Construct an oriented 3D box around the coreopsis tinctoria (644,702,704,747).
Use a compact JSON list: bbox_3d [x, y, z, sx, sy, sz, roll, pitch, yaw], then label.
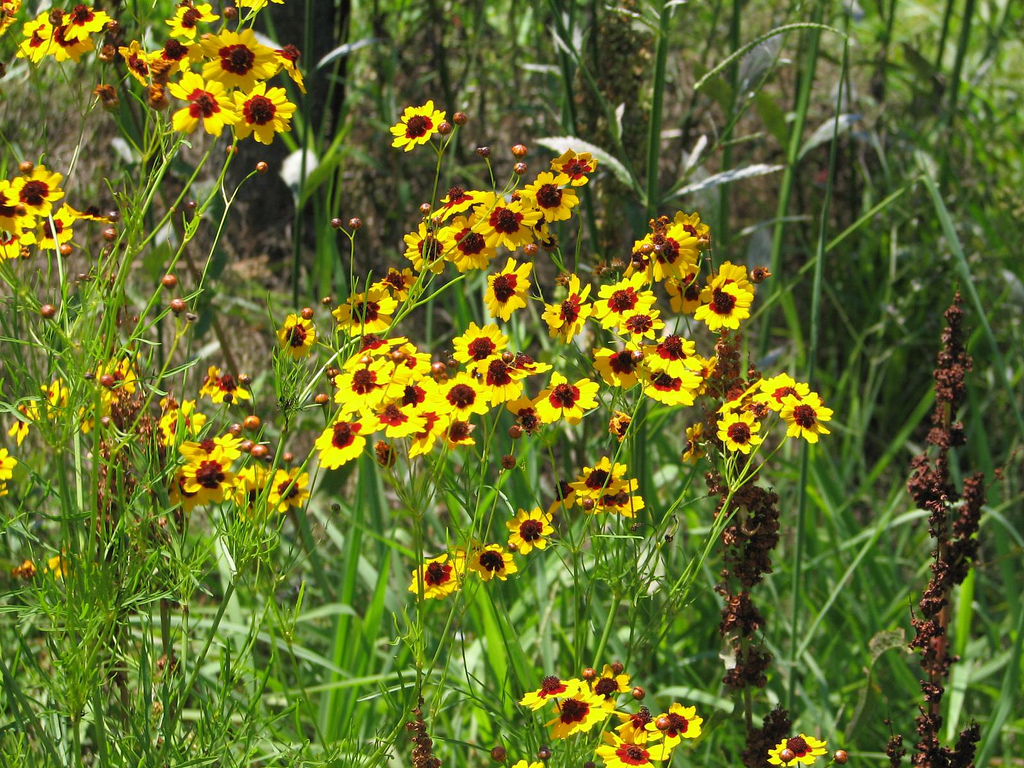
[{"bbox_3d":[0.296,0.623,2.661,0.079,0.033,0.083,-15,39,-29],"label":"coreopsis tinctoria"}]
